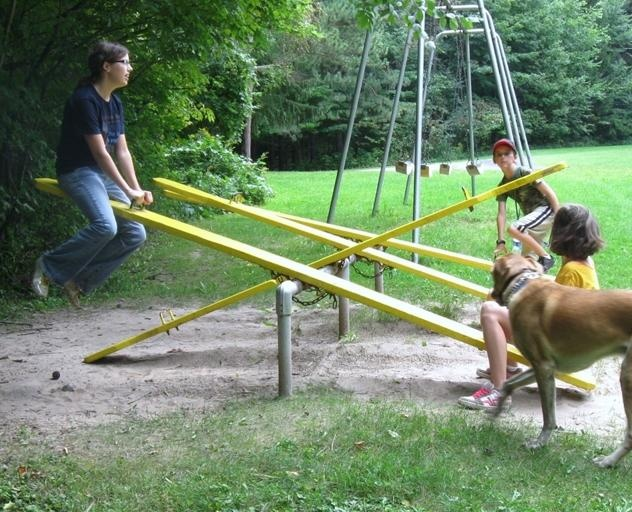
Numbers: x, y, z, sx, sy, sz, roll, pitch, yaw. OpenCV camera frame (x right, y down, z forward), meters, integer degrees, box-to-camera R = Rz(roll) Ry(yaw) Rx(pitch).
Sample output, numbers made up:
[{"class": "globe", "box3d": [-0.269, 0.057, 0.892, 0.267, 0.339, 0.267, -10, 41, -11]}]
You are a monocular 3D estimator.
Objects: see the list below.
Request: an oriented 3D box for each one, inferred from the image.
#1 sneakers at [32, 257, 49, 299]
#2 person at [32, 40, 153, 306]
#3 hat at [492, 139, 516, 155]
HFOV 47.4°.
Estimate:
[{"class": "sneakers", "box3d": [-2.521, 0.200, 6.509, 0.156, 0.353, 0.171, -11, 0, 8]}, {"class": "person", "box3d": [-1.978, -0.722, 6.539, 0.966, 2.398, 1.082, 3, 14, 27]}, {"class": "hat", "box3d": [2.149, -1.256, 8.248, 0.236, 0.145, 0.288, -9, -28, 27]}]
